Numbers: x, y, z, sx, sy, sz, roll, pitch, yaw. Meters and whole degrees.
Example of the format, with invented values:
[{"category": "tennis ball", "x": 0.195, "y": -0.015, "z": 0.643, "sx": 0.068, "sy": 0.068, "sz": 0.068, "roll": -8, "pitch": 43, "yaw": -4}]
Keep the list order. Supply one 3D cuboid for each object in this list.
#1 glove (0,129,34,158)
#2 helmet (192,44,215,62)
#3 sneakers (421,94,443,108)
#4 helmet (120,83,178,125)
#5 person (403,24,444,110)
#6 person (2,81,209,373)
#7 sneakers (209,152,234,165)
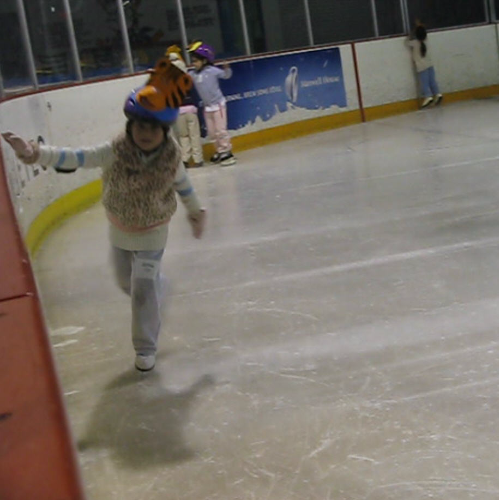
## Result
[{"category": "glove", "x": -0.845, "y": -0.389, "z": 1.978, "sx": 0.044, "sy": 0.057, "sz": 0.158, "roll": 8, "pitch": -3, "yaw": -2}, {"category": "helmet", "x": -0.674, "y": -2.783, "z": 7.689, "sx": 0.379, "sy": 0.302, "sz": 0.117, "roll": -18, "pitch": 14, "yaw": -35}, {"category": "sneakers", "x": 3.535, "y": -2.870, "z": 10.519, "sx": 0.178, "sy": 0.235, "sz": 0.519, "roll": -8, "pitch": 7, "yaw": -9}, {"category": "helmet", "x": -0.375, "y": -0.559, "z": 2.201, "sx": 0.237, "sy": 0.162, "sz": 0.310, "roll": -3, "pitch": 8, "yaw": -15}, {"category": "person", "x": 3.348, "y": -3.468, "z": 10.359, "sx": 0.615, "sy": 1.480, "sz": 0.389, "roll": -16, "pitch": 14, "yaw": -34}, {"category": "person", "x": -0.498, "y": -0.026, "z": 2.264, "sx": 0.645, "sy": 1.192, "sz": 0.476, "roll": -10, "pitch": 11, "yaw": -5}, {"category": "sneakers", "x": -0.406, "y": -1.305, "z": 7.833, "sx": 0.444, "sy": 0.209, "sz": 0.166, "roll": 16, "pitch": 28, "yaw": 41}]
